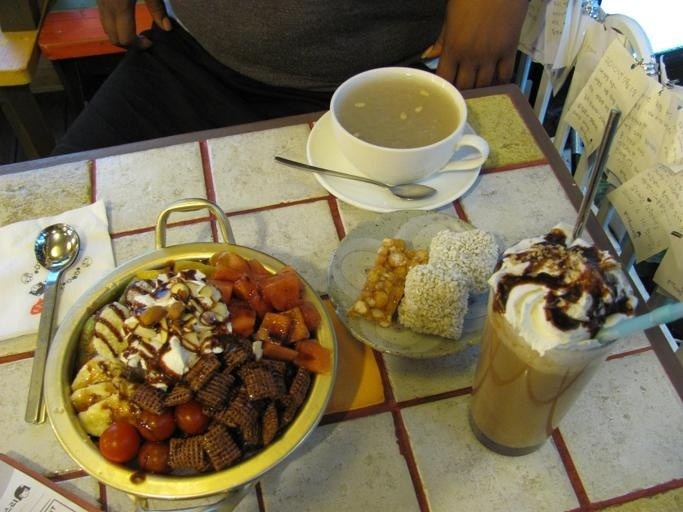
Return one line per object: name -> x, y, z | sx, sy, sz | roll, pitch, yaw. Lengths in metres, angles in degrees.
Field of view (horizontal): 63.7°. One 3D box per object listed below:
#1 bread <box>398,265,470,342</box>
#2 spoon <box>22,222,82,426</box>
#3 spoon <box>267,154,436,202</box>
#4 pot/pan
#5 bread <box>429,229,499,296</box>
bread -> 0.161, 0.078, 0.944 | 0.118, 0.089, 0.097 | 16, 55, 7
spoon -> -0.513, 0.063, 0.991 | 0.087, 0.052, 0.401 | -11, 33, -20
spoon -> 0.033, -0.162, 1.166 | 0.245, 0.033, 0.047 | 16, 62, -1
pot/pan -> -0.262, 0.146, 0.927 | 0.438, 0.184, 0.525 | -26, 61, -20
bread -> 0.223, -0.005, 0.968 | 0.095, 0.055, 0.126 | -8, 33, 5
